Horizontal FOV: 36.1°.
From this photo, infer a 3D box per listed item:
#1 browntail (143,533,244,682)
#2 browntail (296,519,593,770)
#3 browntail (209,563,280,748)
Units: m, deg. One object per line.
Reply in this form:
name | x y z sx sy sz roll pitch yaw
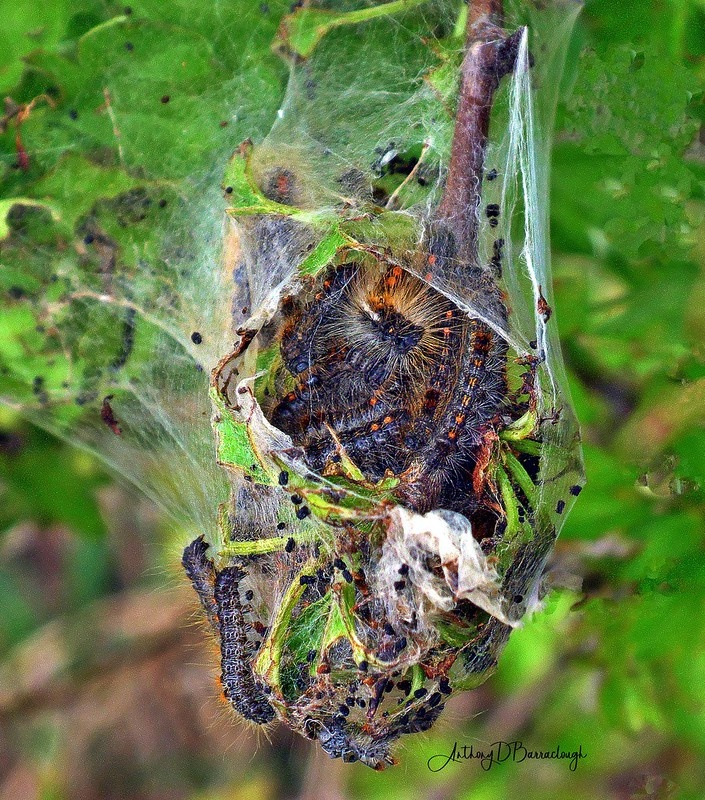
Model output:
browntail | -0.347 0.476 2.555 0.135 0.110 0.373 -20 76 13
browntail | 0.120 0.477 2.409 0.606 0.563 0.218 -46 62 4
browntail | -0.267 0.614 2.590 0.129 0.095 0.385 -6 88 -38
